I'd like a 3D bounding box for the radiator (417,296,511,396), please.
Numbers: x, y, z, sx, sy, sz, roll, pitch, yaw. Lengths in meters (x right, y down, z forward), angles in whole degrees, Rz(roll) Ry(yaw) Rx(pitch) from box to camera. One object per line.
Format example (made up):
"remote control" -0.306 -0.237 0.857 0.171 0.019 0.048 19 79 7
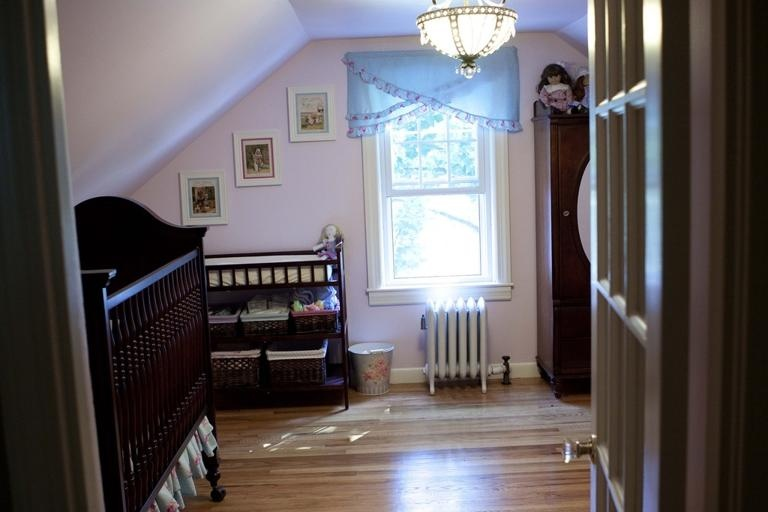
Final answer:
"radiator" 0.546 0.605 4.341 0.584 0.646 0.237 -1 0 -2

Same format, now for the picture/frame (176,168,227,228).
"picture/frame" -1.242 -0.422 4.315 0.413 0.553 0.039 -1 7 -4

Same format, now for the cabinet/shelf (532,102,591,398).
"cabinet/shelf" 1.153 -0.056 4.137 0.304 1.891 0.473 -1 10 7

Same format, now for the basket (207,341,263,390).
"basket" -0.937 0.711 4.184 0.278 0.187 0.292 0 6 -2

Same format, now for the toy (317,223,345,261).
"toy" -0.356 -0.098 4.257 0.211 0.271 0.136 0 -11 -8

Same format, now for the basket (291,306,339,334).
"basket" -0.431 0.405 4.046 0.209 0.105 0.163 0 2 1

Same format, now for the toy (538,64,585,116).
"toy" 1.115 -1.039 3.956 0.306 0.361 0.169 -6 4 21

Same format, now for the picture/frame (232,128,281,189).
"picture/frame" -0.871 -0.691 4.317 0.342 0.442 0.031 -2 4 -4

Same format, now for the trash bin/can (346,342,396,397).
"trash bin/can" -0.087 0.759 4.291 0.286 0.300 0.331 -1 -2 8

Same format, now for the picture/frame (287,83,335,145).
"picture/frame" -0.489 -0.976 4.298 0.311 0.383 0.038 -2 36 -5
